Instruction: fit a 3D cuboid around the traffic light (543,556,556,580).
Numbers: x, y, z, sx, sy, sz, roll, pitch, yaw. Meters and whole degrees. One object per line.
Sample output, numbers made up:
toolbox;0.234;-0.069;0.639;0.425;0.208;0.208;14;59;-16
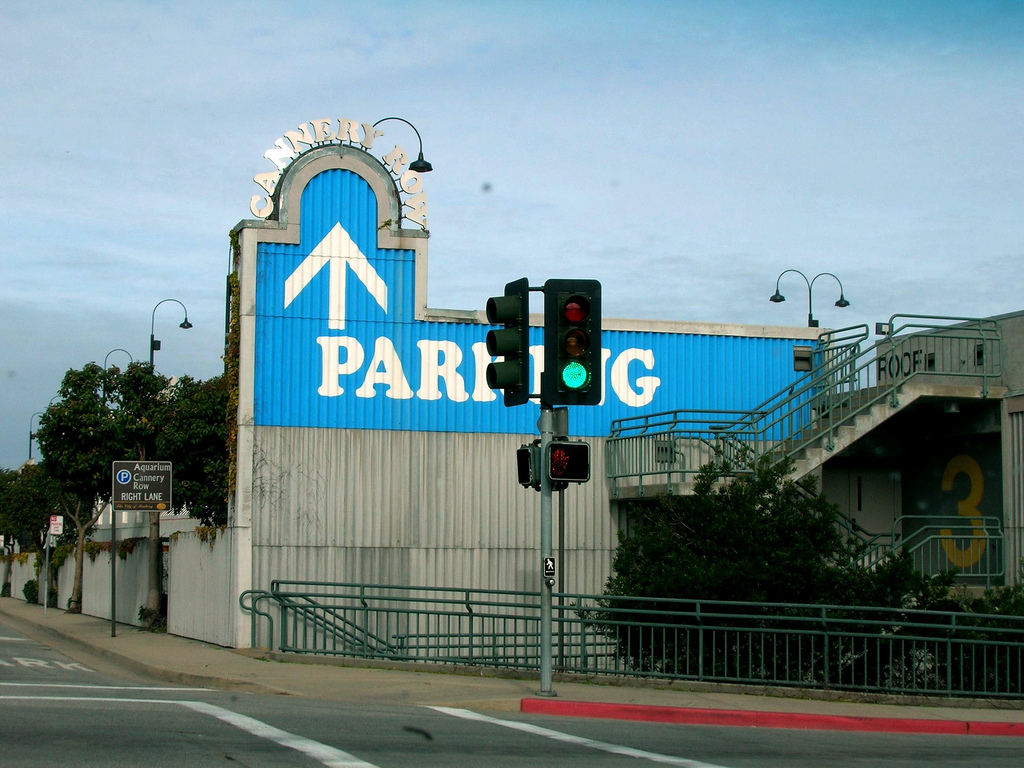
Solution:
traffic light;0.634;3.168;32.992;0.198;0.374;0.118;3;-8;-16

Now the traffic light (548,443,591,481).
traffic light;0.946;1.352;32.769;0.613;0.604;0.218;0;-2;-8

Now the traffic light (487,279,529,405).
traffic light;-0.066;-0.705;32.796;0.731;2.093;1.141;0;-8;0

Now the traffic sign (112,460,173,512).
traffic sign;-8.609;2.394;44.862;1.164;0.997;0.078;2;-7;-15

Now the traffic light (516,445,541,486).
traffic light;0.299;1.406;33.161;0.362;0.814;0.526;1;-8;-2
